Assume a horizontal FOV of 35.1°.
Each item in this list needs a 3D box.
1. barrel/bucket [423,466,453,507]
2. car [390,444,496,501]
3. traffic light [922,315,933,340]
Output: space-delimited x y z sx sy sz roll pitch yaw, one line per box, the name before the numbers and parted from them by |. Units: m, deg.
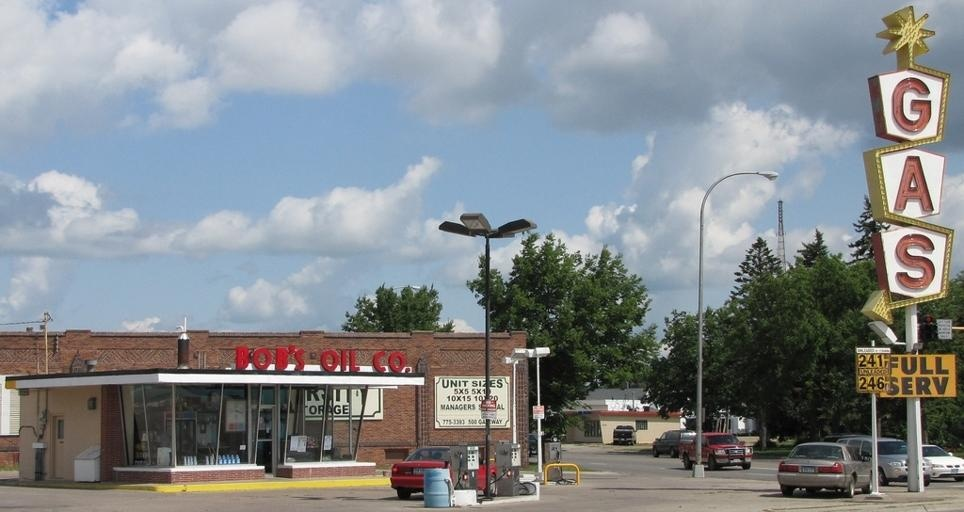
barrel/bucket | -2.923 14.678 96.705 1.757 2.478 0.795 -2 -12 -3
car | -2.942 14.227 101.802 3.293 2.150 6.951 -2 -3 28
traffic light | 30.226 4.878 103.918 0.388 1.337 1.431 -2 0 5
